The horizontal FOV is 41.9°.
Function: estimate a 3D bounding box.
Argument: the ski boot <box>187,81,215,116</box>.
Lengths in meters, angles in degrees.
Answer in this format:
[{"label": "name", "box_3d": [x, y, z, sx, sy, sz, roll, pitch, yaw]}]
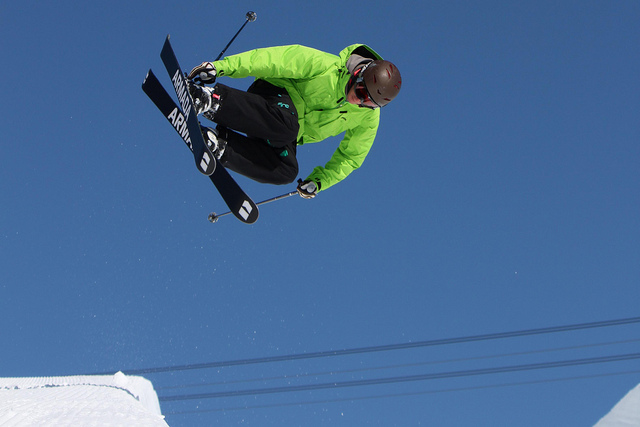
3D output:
[{"label": "ski boot", "box_3d": [-1.199, -1.203, 8.664, 0.259, 0.240, 0.300, -11, -41, -5]}]

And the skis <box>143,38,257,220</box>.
[{"label": "skis", "box_3d": [-1.060, -0.943, 8.230, 0.226, 0.293, 2.164, -35, -71, 0]}]

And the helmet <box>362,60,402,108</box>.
[{"label": "helmet", "box_3d": [0.660, -1.423, 8.803, 0.367, 0.428, 0.316, -24, -41, 11]}]
